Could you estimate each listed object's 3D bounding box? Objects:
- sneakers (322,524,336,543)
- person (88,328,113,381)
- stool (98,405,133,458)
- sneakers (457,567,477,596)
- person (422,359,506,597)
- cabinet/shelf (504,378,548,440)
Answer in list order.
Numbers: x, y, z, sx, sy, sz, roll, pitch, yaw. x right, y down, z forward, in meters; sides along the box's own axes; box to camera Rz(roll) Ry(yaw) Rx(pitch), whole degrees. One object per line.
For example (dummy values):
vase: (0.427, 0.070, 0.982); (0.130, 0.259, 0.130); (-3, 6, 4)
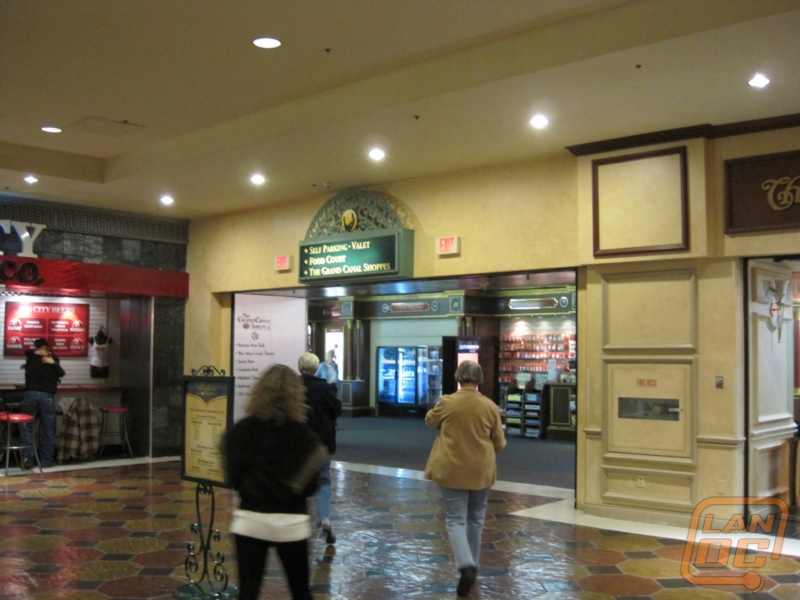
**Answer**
sneakers: (-0.652, 2.152, 5.704); (0.082, 0.248, 0.106); (-6, 18, 15)
person: (-5.119, 0.917, 10.766); (0.386, 0.902, 0.139); (4, -6, -36)
stool: (-4.776, 2.167, 10.481); (0.675, 0.701, 0.682); (0, 1, 11)
sneakers: (0.474, 2.026, 4.549); (0.096, 0.281, 0.119); (7, 16, 3)
person: (0.482, 1.316, 4.716); (0.583, 1.694, 0.393); (-1, -5, 9)
cabinet/shelf: (2.772, 2.330, 13.588); (0.890, 1.143, 0.660); (-3, -9, 31)
